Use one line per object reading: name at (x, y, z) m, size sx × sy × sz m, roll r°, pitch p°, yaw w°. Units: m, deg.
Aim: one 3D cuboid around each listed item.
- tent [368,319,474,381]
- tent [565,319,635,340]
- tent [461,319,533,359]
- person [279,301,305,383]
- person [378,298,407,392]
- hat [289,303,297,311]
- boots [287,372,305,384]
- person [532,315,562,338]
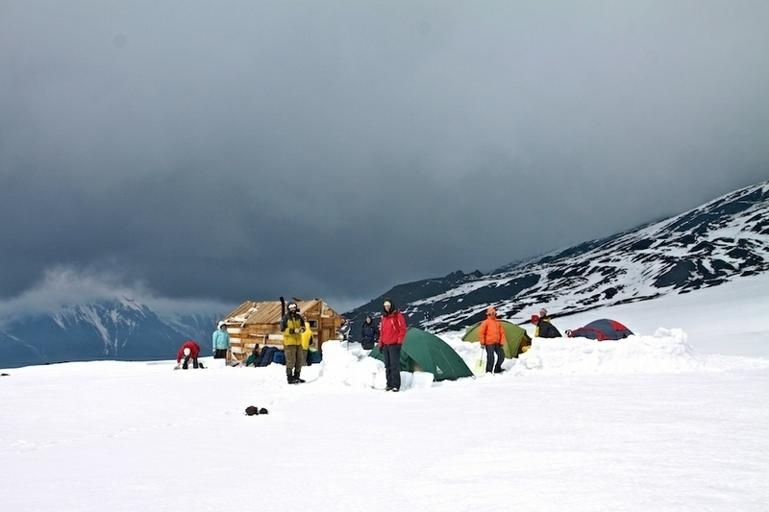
tent at (1.695, 3.432, 25.107) m, size 2.158 × 0.950 × 2.177 m, roll 9°, pitch -6°, yaw 37°
tent at (9.715, 3.212, 32.648) m, size 2.165 × 0.633 × 2.007 m, roll 4°, pitch 8°, yaw 39°
tent at (4.661, 3.317, 29.237) m, size 1.832 × 0.881 × 1.959 m, roll -6°, pitch -2°, yaw 37°
person at (-3.181, 2.905, 25.111) m, size 0.734 × 2.826 × 0.915 m, roll -1°, pitch 7°, yaw 1°
person at (0.215, 2.844, 23.376) m, size 0.815 × 2.880 × 0.768 m, roll 1°, pitch 7°, yaw 16°
hat at (-3.156, 1.687, 24.831) m, size 0.285 × 0.290 × 0.419 m, roll -2°, pitch 7°, yaw -10°
boots at (-3.089, 4.169, 25.029) m, size 0.370 × 0.389 × 0.418 m, roll -7°, pitch -12°, yaw 11°
person at (6.536, 2.756, 29.455) m, size 1.095 × 0.980 × 2.023 m, roll 1°, pitch 7°, yaw 14°
